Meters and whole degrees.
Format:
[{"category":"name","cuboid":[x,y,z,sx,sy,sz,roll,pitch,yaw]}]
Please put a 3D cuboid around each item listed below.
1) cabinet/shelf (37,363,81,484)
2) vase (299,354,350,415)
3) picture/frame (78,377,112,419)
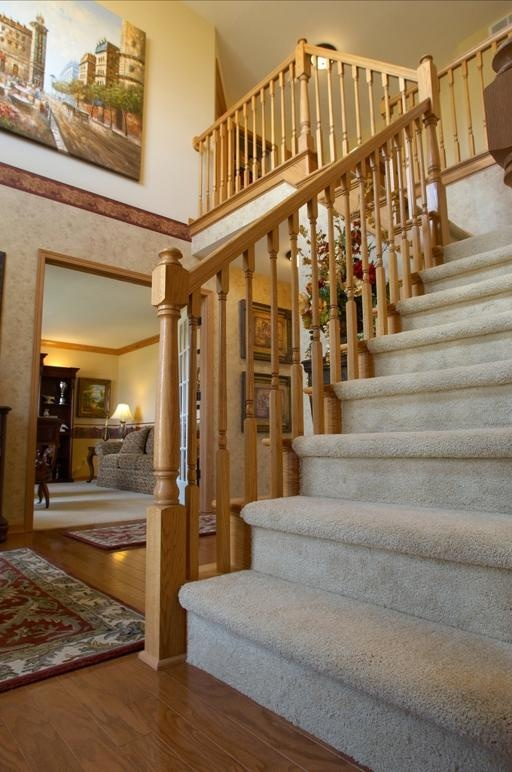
[{"category":"cabinet/shelf","cuboid":[-3.653,0.606,9.541,0.618,2.293,0.478,2,-8,-24]},{"category":"vase","cuboid":[0.325,-0.064,2.593,0.107,0.170,0.164,-3,-20,-44]},{"category":"picture/frame","cuboid":[-3.227,0.241,10.307,0.077,0.974,0.685,-7,-10,41]}]
